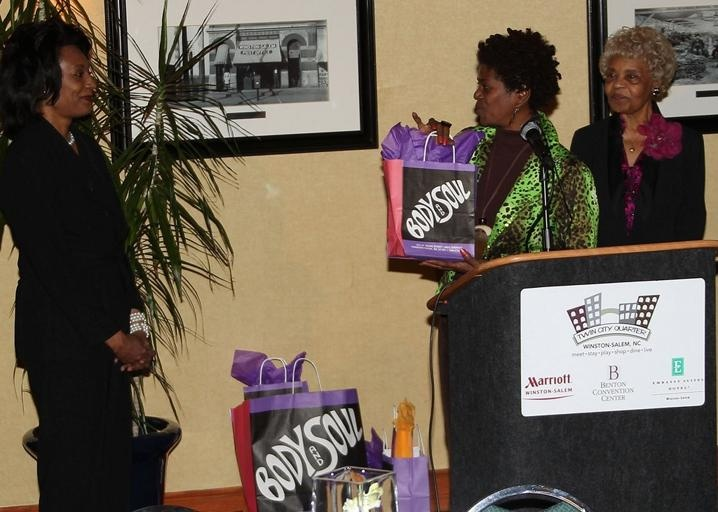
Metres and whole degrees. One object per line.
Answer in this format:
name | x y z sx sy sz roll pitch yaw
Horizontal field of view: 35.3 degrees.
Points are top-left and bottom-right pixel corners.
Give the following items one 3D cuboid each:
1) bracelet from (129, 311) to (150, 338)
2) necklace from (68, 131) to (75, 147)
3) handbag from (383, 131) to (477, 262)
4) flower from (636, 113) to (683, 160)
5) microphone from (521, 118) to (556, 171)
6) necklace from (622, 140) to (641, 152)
bracelet | -0.866 0.271 4.430 0.056 0.103 0.071 -27 -23 33
necklace | -1.122 -0.449 4.406 0.009 0.042 0.044 -4 -26 22
handbag | 0.278 -0.229 4.344 0.364 0.549 0.195 2 -4 -5
flower | 1.262 -0.493 4.727 0.166 0.187 0.077 3 8 23
microphone | 0.658 -0.423 4.182 0.069 0.082 0.245 -7 40 -7
necklace | 1.152 -0.459 4.775 0.044 0.050 0.012 -18 -9 7
